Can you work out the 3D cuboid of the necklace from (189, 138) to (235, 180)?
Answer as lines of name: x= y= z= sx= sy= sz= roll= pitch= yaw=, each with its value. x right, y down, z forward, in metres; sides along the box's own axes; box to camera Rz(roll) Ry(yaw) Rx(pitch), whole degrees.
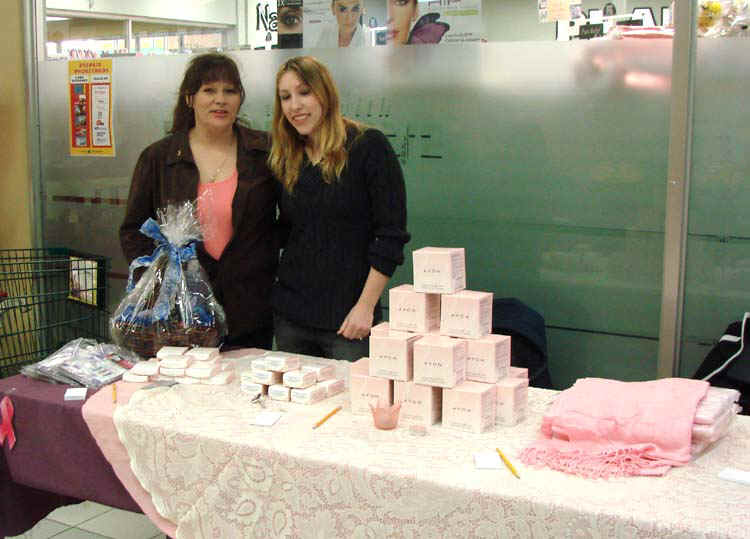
necklace: x=-0.787 y=-0.510 z=3.009 sx=0.243 sy=0.178 sz=0.072 roll=9 pitch=-8 yaw=-14

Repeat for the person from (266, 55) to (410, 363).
person: x=-0.163 y=-0.238 z=2.681 sx=0.621 sy=1.315 sz=0.347 roll=1 pitch=14 yaw=1

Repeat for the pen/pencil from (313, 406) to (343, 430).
pen/pencil: x=-0.160 y=0.499 z=2.123 sx=0.027 sy=0.025 sz=0.226 roll=18 pitch=18 yaw=15

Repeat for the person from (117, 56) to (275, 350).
person: x=-0.796 y=-0.311 z=2.956 sx=0.737 sy=1.405 sz=0.442 roll=4 pitch=15 yaw=14
